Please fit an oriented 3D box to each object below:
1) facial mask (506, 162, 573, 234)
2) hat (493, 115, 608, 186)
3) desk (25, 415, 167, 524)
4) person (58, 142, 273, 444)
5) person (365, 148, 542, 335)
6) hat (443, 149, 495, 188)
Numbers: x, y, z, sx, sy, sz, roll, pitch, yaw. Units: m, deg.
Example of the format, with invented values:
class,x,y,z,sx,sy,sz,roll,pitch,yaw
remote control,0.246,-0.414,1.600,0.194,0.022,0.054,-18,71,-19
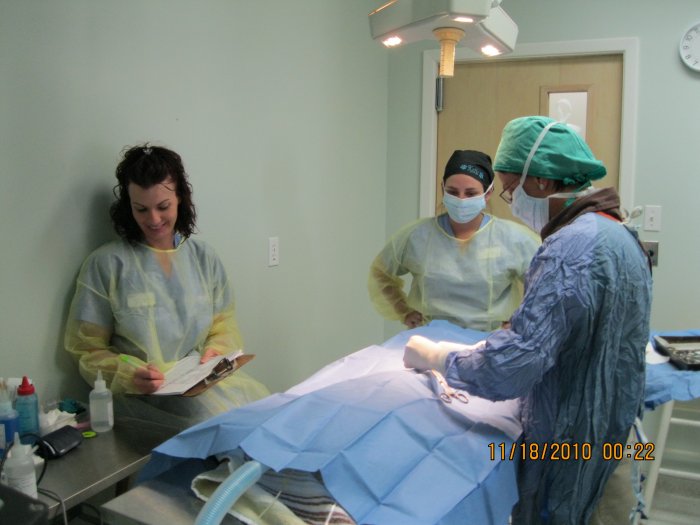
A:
class,x,y,z,sx,sy,sz,roll,pitch,yaw
facial mask,0.576,-0.179,1.732,0.165,0.149,0.142,-2,14,37
hat,0.590,-0.306,1.730,0.276,0.166,0.202,20,3,26
desk,-0.760,0.614,1.764,0.251,0.199,0.393,10,16,17
person,-0.680,0.009,2.526,0.820,1.322,0.882,9,10,31
person,0.455,-0.094,2.608,1.017,1.008,0.397,0,3,18
hat,0.533,-0.407,2.604,0.204,0.154,0.152,21,-12,-40
